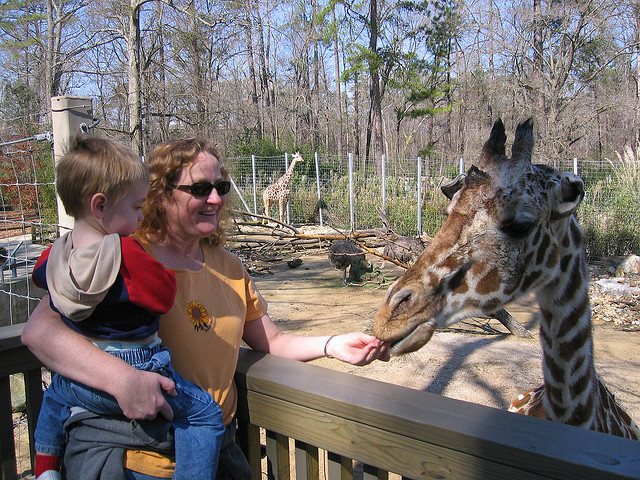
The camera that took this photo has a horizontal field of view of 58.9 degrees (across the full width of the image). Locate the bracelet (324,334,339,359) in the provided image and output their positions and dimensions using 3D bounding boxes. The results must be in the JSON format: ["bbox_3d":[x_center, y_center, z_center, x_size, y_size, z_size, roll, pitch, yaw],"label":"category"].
[{"bbox_3d":[0.042,0.535,2.904,0.073,0.097,0.021,7,-5,-19],"label":"bracelet"}]

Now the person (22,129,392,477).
[{"bbox_3d":[-0.671,0.268,2.639,0.708,1.551,1.222,5,6,42],"label":"person"}]

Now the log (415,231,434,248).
[{"bbox_3d":[2.026,-0.045,10.997,0.257,0.127,0.328,31,25,19],"label":"log"}]

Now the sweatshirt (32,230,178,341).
[{"bbox_3d":[-0.968,0.230,2.529,0.531,0.571,0.515,-4,11,7],"label":"sweatshirt"}]
